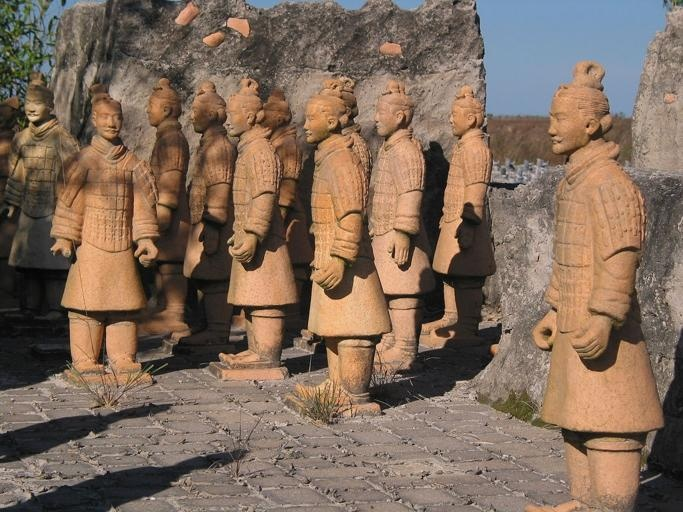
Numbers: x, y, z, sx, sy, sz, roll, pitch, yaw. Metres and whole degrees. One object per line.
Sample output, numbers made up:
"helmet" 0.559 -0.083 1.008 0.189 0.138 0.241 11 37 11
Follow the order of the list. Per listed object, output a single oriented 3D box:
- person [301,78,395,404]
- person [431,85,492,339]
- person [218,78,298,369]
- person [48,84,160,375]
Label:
"person" 0.019 -0.041 13.745 0.621 2.370 0.683 5 -2 -43
"person" 1.269 -0.384 16.140 0.618 2.094 0.870 4 -1 4
"person" -0.716 -0.269 14.550 0.744 2.267 0.584 4 -1 -1
"person" -2.086 -0.155 14.333 0.932 2.301 0.402 4 -1 -7
